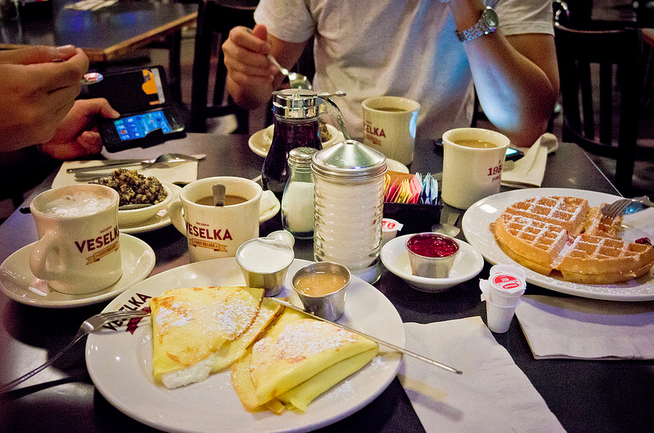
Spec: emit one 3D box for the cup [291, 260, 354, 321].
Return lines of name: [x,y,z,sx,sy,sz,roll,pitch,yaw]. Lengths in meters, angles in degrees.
cup: [-0.009,0.191,1.188,0.141,0.097,0.139,-4,26,2]

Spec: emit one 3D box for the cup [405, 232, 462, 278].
cup: [0.274,0.092,1.275,0.122,0.078,0.119,-1,26,1]

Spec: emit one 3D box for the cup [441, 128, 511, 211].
cup: [0.421,-0.160,1.628,0.243,0.247,0.271,0,35,0]

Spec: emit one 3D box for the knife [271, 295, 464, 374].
knife: [0.078,0.274,1.091,0.365,0.037,0.020,22,59,21]

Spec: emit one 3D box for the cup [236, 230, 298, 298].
cup: [-0.148,0.111,1.246,0.146,0.085,0.207,12,29,8]

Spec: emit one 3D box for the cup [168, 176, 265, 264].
cup: [-0.317,0.022,1.339,0.272,0.233,0.176,12,32,18]

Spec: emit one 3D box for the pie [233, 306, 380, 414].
pie: [-0.064,0.311,1.030,0.200,0.063,0.200,24,46,36]

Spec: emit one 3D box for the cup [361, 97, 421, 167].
cup: [0.232,-0.344,1.869,0.272,0.213,0.222,23,30,34]

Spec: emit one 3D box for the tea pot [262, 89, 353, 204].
tea pot: [-0.065,-0.235,1.585,0.330,0.322,0.223,-5,24,-15]
